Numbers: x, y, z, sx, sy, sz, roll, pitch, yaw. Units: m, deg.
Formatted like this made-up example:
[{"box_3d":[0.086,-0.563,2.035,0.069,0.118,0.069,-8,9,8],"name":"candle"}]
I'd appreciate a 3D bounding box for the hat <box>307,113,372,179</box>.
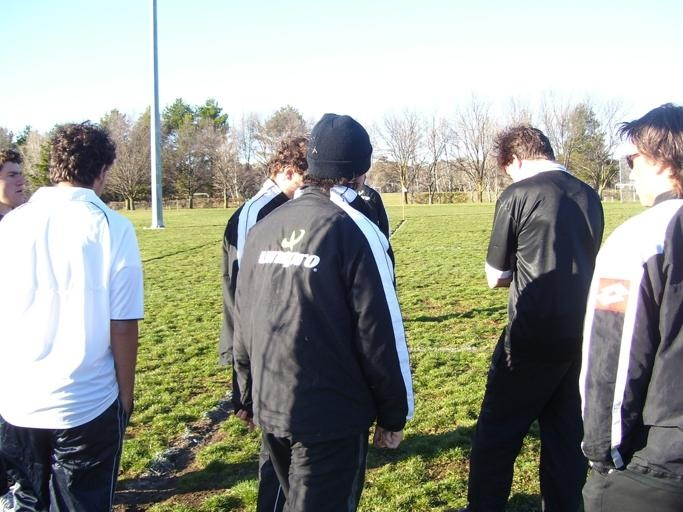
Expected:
[{"box_3d":[-0.044,-0.592,3.259,0.376,0.378,0.415,-4,10,-19],"name":"hat"}]
